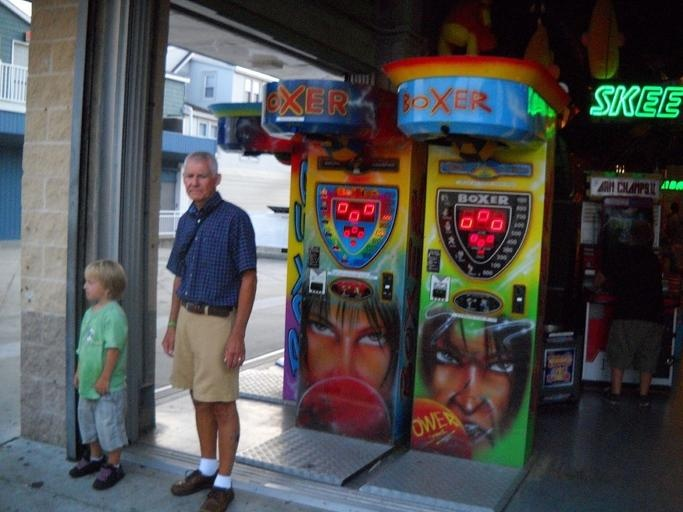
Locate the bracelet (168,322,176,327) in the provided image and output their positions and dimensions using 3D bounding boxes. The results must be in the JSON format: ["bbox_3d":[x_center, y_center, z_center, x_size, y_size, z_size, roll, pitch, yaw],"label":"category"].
[{"bbox_3d":[-1.208,0.480,4.339,0.035,0.027,0.035,5,-4,-44],"label":"bracelet"}]

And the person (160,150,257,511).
[{"bbox_3d":[-0.938,0.480,4.245,0.703,2.393,0.450,6,7,37],"label":"person"}]

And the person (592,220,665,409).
[{"bbox_3d":[3.043,0.583,6.410,0.630,1.869,0.307,4,6,22],"label":"person"}]

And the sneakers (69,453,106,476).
[{"bbox_3d":[-1.844,1.520,4.458,0.119,0.124,0.261,2,0,39],"label":"sneakers"}]

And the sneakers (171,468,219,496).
[{"bbox_3d":[-1.040,1.590,4.347,0.320,0.137,0.129,4,-4,-37],"label":"sneakers"}]

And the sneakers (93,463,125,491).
[{"bbox_3d":[-1.656,1.557,4.328,0.105,0.109,0.217,0,-3,14],"label":"sneakers"}]

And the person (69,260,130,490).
[{"bbox_3d":[-1.705,0.824,4.328,0.343,1.580,0.290,1,6,-8],"label":"person"}]
